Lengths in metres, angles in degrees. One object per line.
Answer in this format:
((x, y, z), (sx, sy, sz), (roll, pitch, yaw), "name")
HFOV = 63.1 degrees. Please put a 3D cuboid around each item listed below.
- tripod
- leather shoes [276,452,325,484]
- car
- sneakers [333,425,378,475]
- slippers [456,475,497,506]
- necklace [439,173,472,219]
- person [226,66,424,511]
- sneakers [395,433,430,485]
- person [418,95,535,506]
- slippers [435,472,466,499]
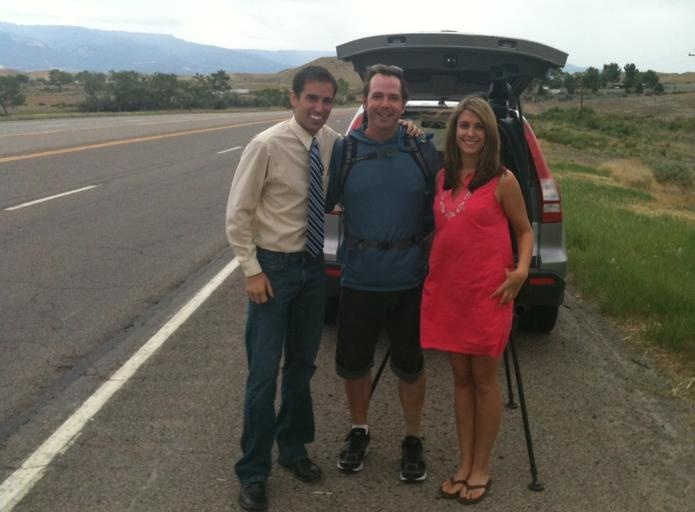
((0.945, 1.007, 4.490), (1.033, 1.485, 1.087), (-1, 3, 19), "tripod")
((-0.326, 1.389, 3.809), (0.266, 0.137, 0.130), (14, 11, 29), "leather shoes")
((1.019, -1.461, 5.891), (1.724, 1.961, 3.290), (0, 32, 2), "car")
((0.024, 1.304, 3.801), (0.129, 0.175, 0.352), (1, -7, 11), "sneakers")
((0.847, 1.490, 3.646), (0.297, 0.094, 0.125), (-9, 19, -30), "slippers")
((0.687, -0.334, 3.619), (0.196, 0.181, 0.101), (6, 15, 17), "necklace")
((-0.382, 0.157, 3.644), (0.876, 2.621, 0.618), (-8, 16, -33), "person")
((0.447, 1.381, 3.849), (0.189, 0.231, 0.551), (-1, -3, 5), "sneakers")
((0.821, 0.260, 3.643), (0.675, 2.452, 0.686), (5, 14, 19), "person")
((0.683, 1.476, 3.666), (0.201, 0.060, 0.082), (-6, 16, -38), "slippers")
